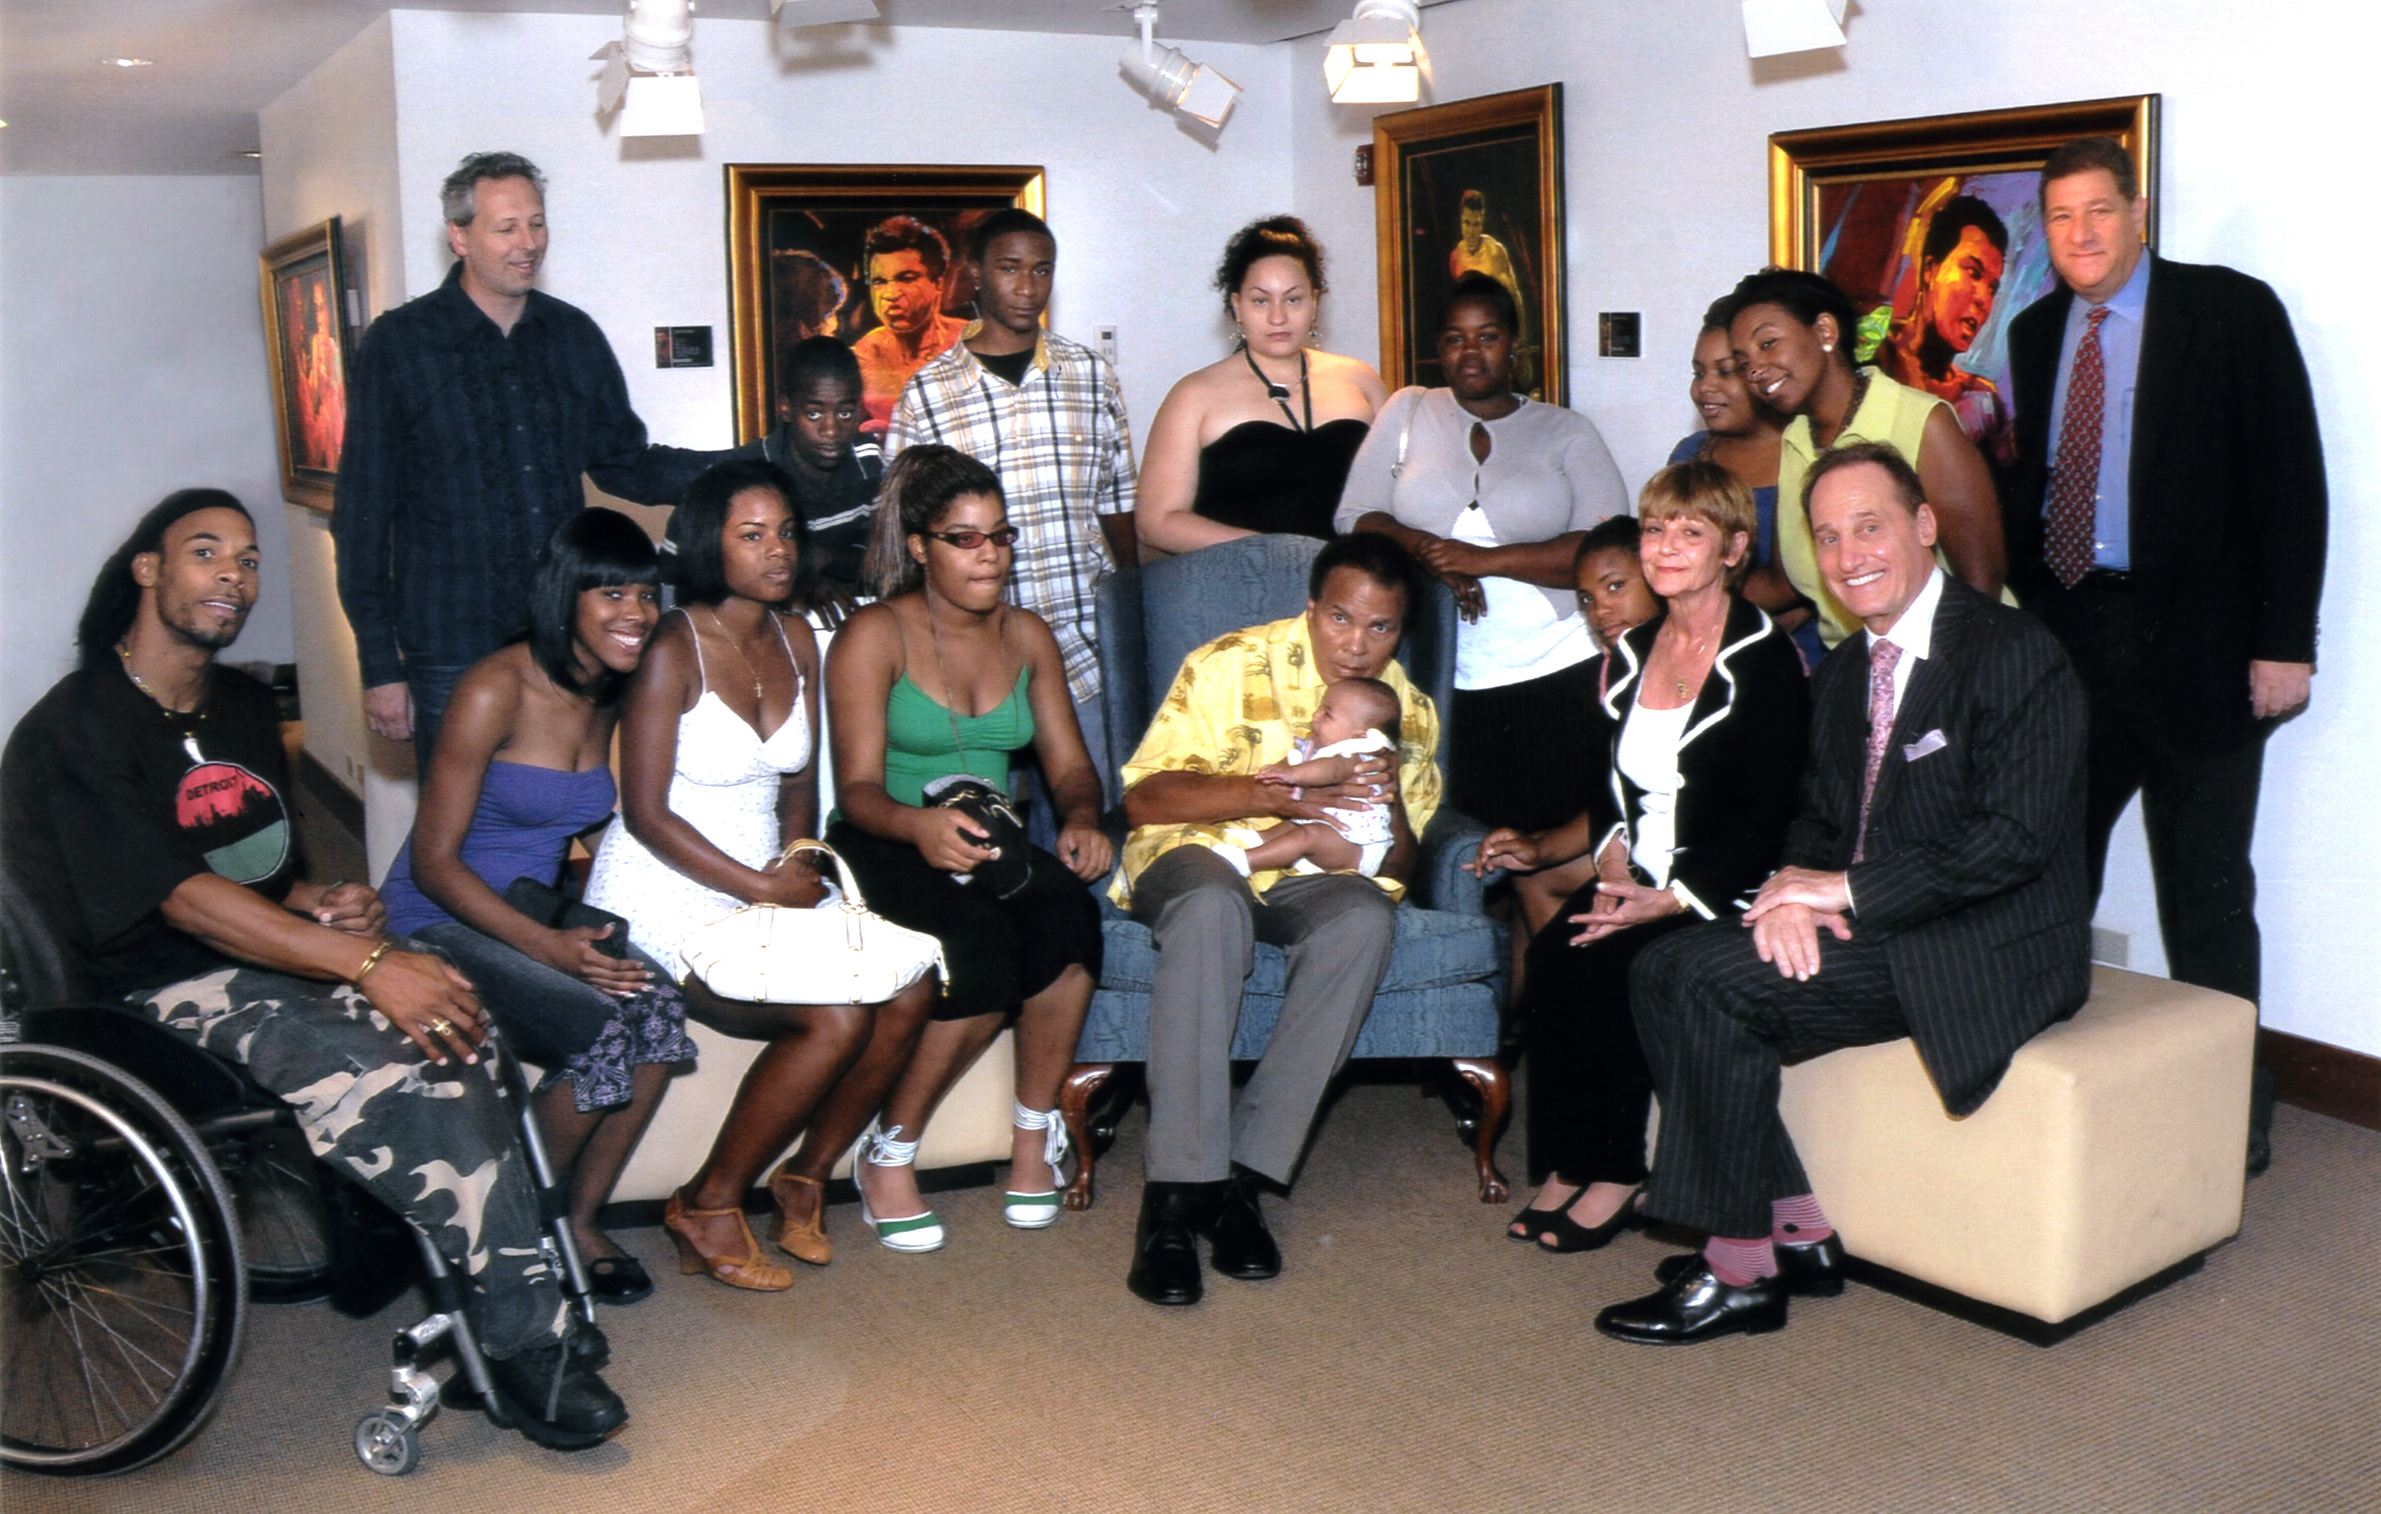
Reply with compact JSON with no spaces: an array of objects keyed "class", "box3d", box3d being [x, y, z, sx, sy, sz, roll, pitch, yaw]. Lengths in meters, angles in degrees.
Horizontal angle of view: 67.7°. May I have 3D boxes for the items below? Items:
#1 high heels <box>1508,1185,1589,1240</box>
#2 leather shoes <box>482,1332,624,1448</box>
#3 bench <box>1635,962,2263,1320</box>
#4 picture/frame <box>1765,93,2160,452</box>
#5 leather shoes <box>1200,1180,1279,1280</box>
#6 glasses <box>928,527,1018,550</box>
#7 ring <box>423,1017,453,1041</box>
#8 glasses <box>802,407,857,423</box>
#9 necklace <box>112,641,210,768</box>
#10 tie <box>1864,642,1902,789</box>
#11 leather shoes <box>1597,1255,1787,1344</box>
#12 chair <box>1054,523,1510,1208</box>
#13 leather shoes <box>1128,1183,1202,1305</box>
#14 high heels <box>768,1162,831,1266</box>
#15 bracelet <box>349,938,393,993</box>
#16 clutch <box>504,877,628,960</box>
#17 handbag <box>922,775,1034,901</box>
[{"class":"high heels","box3d":[0.844,1.094,4.243,0.057,0.216,0.085,40,14,-35]},{"class":"leather shoes","box3d":[-1.268,1.266,3.618,0.380,0.167,0.147,10,9,26]},{"class":"bench","box3d":[1.826,0.850,4.289,0.810,0.670,1.089,-9,9,-37]},{"class":"picture/frame","box3d":[2.273,-1.386,5.300,1.285,0.983,0.070,-11,23,-16]},{"class":"leather shoes","box3d":[0.116,1.112,4.224,0.155,0.122,0.362,-4,12,-11]},{"class":"glasses","box3d":[-0.517,-0.535,4.286,0.190,0.049,0.075,-10,17,-23]},{"class":"ring","box3d":[-1.492,0.541,3.511,0.044,0.029,0.017,2,3,-1]},{"class":"glasses","box3d":[-0.970,-0.927,4.809,0.151,0.044,0.039,-12,19,-30]},{"class":"necklace","box3d":[-2.123,-0.113,3.696,0.177,0.223,0.057,-15,15,25]},{"class":"tie","box3d":[1.549,-0.100,3.947,0.059,0.292,0.076,1,-6,10]},{"class":"leather shoes","box3d":[1.111,1.204,3.932,0.427,0.162,0.160,-1,3,-2]},{"class":"chair","box3d":[0.310,0.192,4.490,1.086,1.490,0.909,5,11,4]},{"class":"leather shoes","box3d":[-0.052,1.132,4.025,0.116,0.125,0.316,1,4,-1]},{"class":"high heels","box3d":[-0.932,1.091,4.211,0.098,0.124,0.285,20,8,-47]},{"class":"bracelet","box3d":[-1.642,0.409,3.547,0.060,0.085,0.091,32,43,6]},{"class":"clutch","box3d":[-1.382,0.377,3.954,0.173,0.078,0.221,24,-6,26]},{"class":"handbag","box3d":[-0.563,0.190,4.388,0.310,0.227,0.540,-1,-13,-13]}]
